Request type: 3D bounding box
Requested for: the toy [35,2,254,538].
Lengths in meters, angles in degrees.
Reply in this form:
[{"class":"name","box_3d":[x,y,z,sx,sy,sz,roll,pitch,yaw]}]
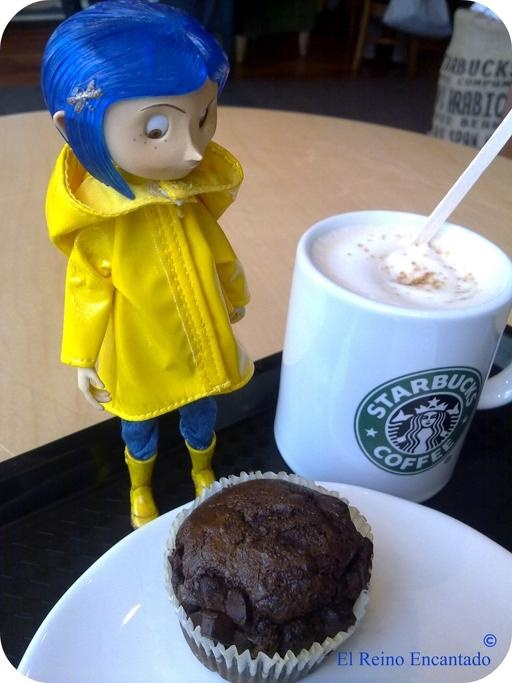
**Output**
[{"class":"toy","box_3d":[-0.084,-0.091,0.535,0.192,0.351,0.139,-6,45,-12]}]
